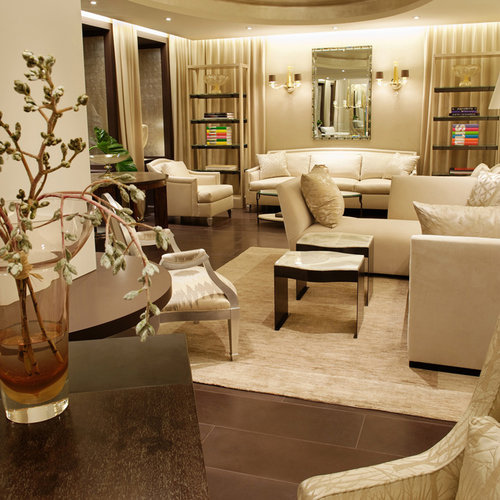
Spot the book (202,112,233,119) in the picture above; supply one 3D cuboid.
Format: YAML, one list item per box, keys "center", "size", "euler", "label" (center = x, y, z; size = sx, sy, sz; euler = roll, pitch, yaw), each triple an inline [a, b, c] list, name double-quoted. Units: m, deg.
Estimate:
- center: [-0.569, -2.412, 7.921]
  size: [0.520, 0.136, 0.455]
  euler: [-1, 14, 0]
  label: "book"

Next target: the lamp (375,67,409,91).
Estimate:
- center: [2.398, -2.843, 7.310]
  size: [0.348, 0.314, 0.160]
  euler: [2, 27, 20]
  label: "lamp"

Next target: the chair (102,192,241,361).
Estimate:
- center: [-0.408, 0.126, 2.760]
  size: [0.735, 1.101, 0.729]
  euler: [-10, 14, -28]
  label: "chair"

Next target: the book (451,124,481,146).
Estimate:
- center: [3.367, -1.775, 6.852]
  size: [0.425, 0.456, 0.323]
  euler: [3, 8, 25]
  label: "book"

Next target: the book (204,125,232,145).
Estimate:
- center: [-0.577, -2.065, 7.935]
  size: [0.464, 0.354, 0.381]
  euler: [-1, 14, -1]
  label: "book"
